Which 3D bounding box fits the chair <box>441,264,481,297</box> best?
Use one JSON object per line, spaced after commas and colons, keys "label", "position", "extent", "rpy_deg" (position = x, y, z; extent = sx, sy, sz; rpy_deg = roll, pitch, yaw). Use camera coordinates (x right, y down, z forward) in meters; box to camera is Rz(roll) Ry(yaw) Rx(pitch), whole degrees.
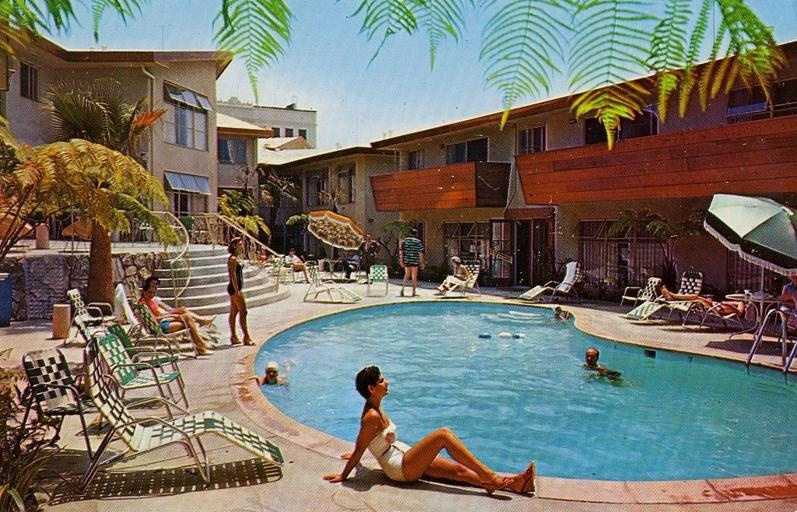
{"label": "chair", "position": [2.257, 0.976, 21.262], "extent": [1.489, 0.963, 1.026], "rpy_deg": [0, -3, -34]}

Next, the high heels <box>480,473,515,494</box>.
{"label": "high heels", "position": [0.973, 2.210, 5.525], "extent": [0.337, 0.145, 0.122], "rpy_deg": [-7, 8, -7]}

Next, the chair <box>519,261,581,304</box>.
{"label": "chair", "position": [5.126, 0.893, 19.064], "extent": [1.952, 1.190, 1.042], "rpy_deg": [-3, 3, -6]}

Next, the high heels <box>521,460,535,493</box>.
{"label": "high heels", "position": [1.271, 2.144, 5.531], "extent": [0.143, 0.345, 0.123], "rpy_deg": [3, 6, 12]}

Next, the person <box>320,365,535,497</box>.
{"label": "person", "position": [0.232, 1.727, 5.802], "extent": [1.959, 1.142, 0.443], "rpy_deg": [0, -4, 6]}
